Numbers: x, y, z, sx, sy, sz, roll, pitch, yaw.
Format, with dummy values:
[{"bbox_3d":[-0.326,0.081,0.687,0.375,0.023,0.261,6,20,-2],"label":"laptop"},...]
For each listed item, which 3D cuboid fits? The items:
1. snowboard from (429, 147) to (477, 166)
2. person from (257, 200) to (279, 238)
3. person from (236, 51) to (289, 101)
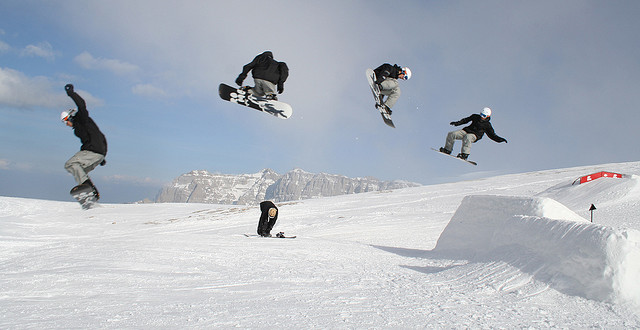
[{"bbox_3d":[4.059,-0.324,10.527,2.277,0.211,0.245,13,4,-24],"label":"snowboard"},{"bbox_3d":[-1.986,1.971,13.215,0.638,1.454,1.100,12,-6,-26],"label":"person"},{"bbox_3d":[-2.211,-3.135,13.278,1.697,2.642,0.882,11,-26,-4],"label":"person"}]
